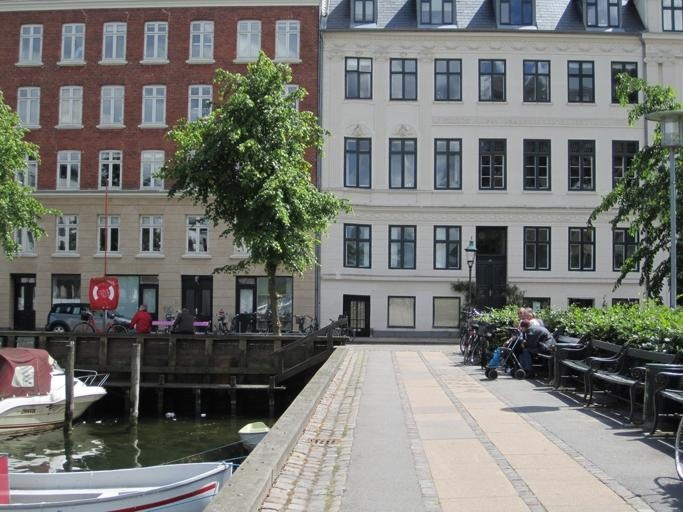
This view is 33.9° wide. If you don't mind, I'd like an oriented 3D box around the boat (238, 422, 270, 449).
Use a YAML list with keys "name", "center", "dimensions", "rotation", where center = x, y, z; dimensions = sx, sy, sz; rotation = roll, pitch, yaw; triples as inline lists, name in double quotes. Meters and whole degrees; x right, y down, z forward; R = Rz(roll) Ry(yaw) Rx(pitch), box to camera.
- name: "boat"
  center: [-3.119, 6.309, 39.565]
  dimensions: [1.251, 0.715, 1.598]
  rotation: [-1, -3, 3]

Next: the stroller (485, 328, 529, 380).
- name: "stroller"
  center: [5.790, 3.475, 39.188]
  dimensions: [1.577, 2.316, 1.584]
  rotation: [2, -4, 1]
